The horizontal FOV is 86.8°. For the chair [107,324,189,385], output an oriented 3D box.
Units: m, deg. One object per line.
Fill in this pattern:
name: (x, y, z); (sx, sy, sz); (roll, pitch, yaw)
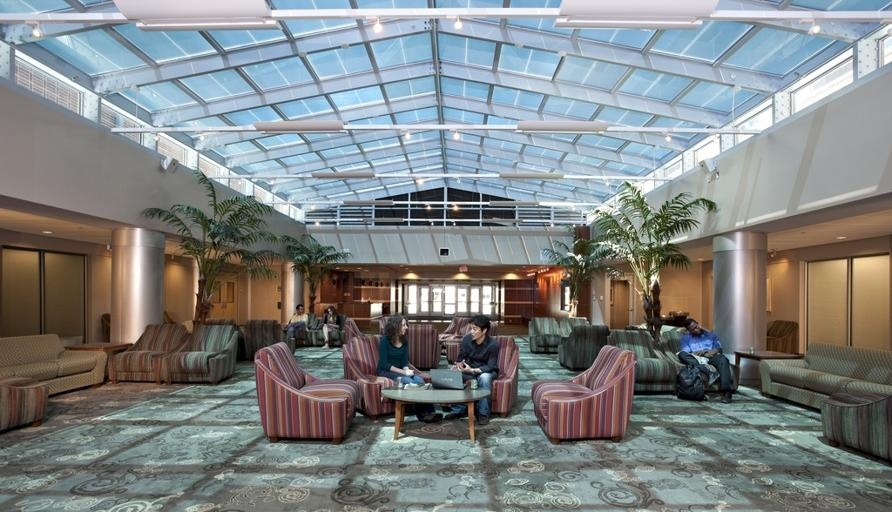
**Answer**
chair: (-7.416, 2.412, 11.737); (1.615, 1.234, 0.972); (0, 13, 1)

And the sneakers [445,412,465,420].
sneakers: (0.144, 3.134, 9.217); (0.429, 0.137, 0.127); (5, -8, -5)

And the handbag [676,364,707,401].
handbag: (5.516, 2.848, 10.603); (0.606, 0.691, 0.522); (6, 14, 23)

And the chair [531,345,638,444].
chair: (2.341, 2.454, 8.937); (1.975, 1.358, 1.910); (1, -5, 1)

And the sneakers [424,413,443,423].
sneakers: (-0.275, 3.105, 9.009); (0.408, 0.121, 0.131); (2, -4, -8)

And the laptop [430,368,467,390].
laptop: (0.062, 2.190, 8.700); (0.607, 0.287, 0.380); (0, -3, 11)
